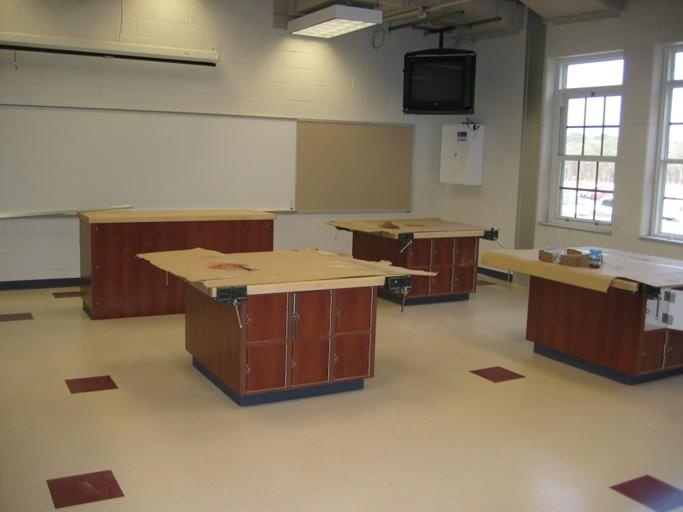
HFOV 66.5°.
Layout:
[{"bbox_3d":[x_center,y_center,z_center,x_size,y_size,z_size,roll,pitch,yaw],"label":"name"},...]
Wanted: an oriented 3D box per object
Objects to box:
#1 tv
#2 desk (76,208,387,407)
[{"bbox_3d":[1.562,-2.774,8.268,0.995,0.959,0.558,4,7,31],"label":"tv"},{"bbox_3d":[-1.367,0.291,5.450,2.169,1.220,3.692,-5,13,-31],"label":"desk"}]
